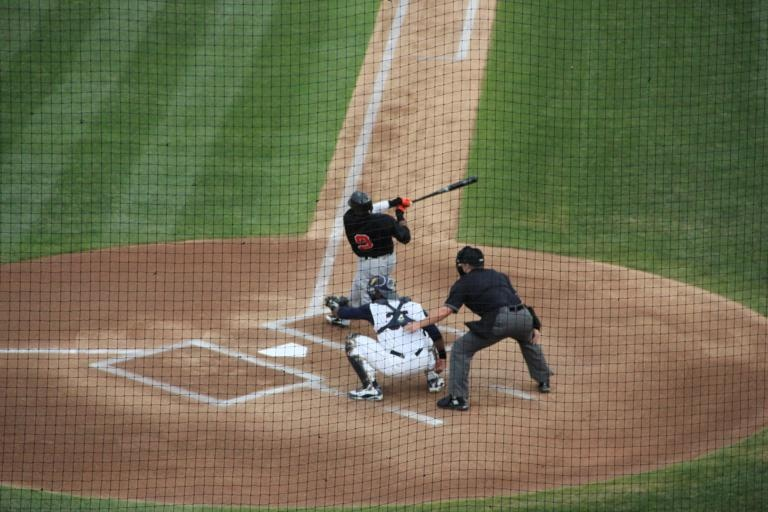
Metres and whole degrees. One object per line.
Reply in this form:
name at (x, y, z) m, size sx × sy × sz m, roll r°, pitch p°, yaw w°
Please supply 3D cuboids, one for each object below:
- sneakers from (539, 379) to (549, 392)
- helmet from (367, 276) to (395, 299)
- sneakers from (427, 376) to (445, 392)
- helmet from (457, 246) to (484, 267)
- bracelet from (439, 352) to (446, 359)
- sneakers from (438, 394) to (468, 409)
sneakers at (2.594, 2.123, 17.726) m, size 0.131 × 0.234 × 0.194 m, roll -2°, pitch 96°, yaw -18°
helmet at (-0.083, 0.509, 18.368) m, size 0.499 × 0.356 × 0.342 m, roll -6°, pitch 105°, yaw 15°
sneakers at (0.851, 2.074, 17.676) m, size 0.245 × 0.280 × 0.234 m, roll -3°, pitch 98°, yaw -1°
helmet at (1.390, -0.023, 17.371) m, size 0.329 × 0.403 × 0.288 m, roll -15°, pitch 124°, yaw -30°
bracelet at (0.937, 1.586, 17.527) m, size 0.150 × 0.077 × 0.112 m, roll 2°, pitch 94°, yaw 0°
sneakers at (1.089, 2.309, 17.415) m, size 0.550 × 0.189 × 0.196 m, roll 5°, pitch 107°, yaw 9°
